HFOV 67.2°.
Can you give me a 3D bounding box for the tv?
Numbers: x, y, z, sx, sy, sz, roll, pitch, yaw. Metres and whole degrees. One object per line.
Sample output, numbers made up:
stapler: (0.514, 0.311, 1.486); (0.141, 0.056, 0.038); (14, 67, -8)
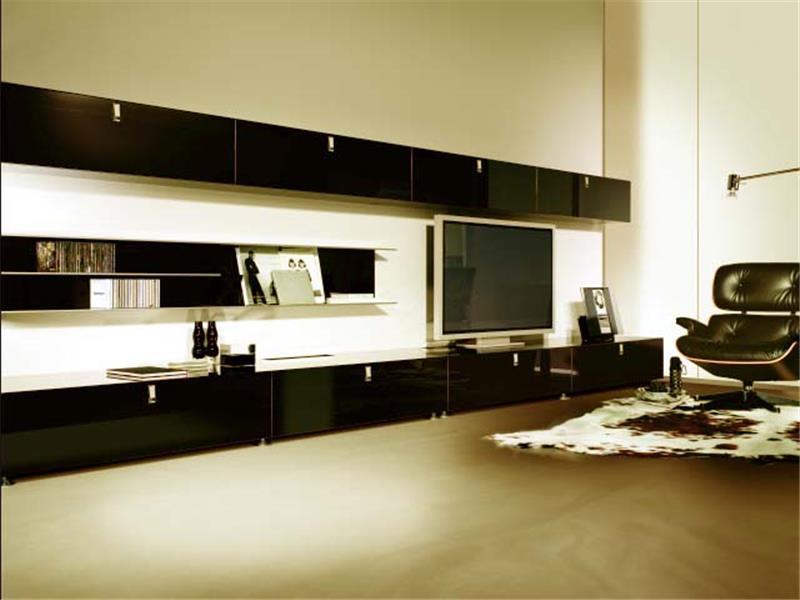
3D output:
tv: (0.852, -0.169, 5.230); (1.288, 0.918, 0.138); (-2, 3, -31)
